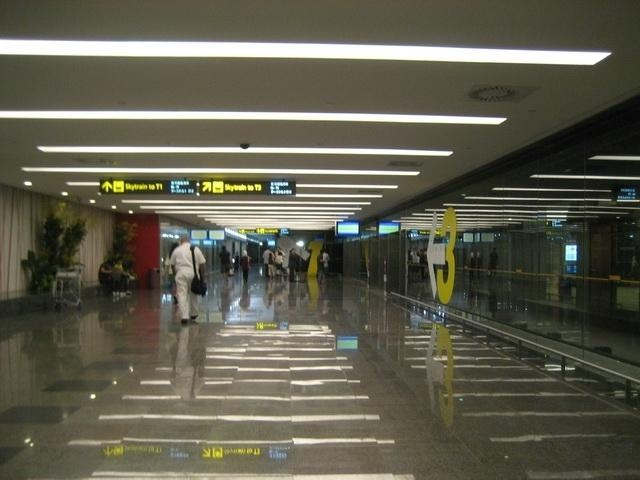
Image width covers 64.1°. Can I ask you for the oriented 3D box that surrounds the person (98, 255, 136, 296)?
[{"bbox_3d":[-6.989,1.356,17.567,1.014,1.485,0.533,4,12,-13],"label":"person"}]

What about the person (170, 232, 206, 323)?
[{"bbox_3d":[-2.748,0.843,10.703,0.674,1.842,0.784,-1,4,-21],"label":"person"}]

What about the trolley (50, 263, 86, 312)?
[{"bbox_3d":[-6.471,1.226,13.161,0.630,1.157,0.744,-1,6,-29],"label":"trolley"}]

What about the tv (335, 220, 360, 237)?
[{"bbox_3d":[1.370,-0.552,25.502,1.148,0.674,0.833,0,-3,1],"label":"tv"}]

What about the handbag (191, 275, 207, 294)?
[{"bbox_3d":[-2.490,0.920,10.500,0.346,0.395,0.184,6,-12,-39],"label":"handbag"}]

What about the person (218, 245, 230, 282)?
[{"bbox_3d":[-4.544,1.146,24.644,0.377,1.655,2.527,0,3,-11],"label":"person"}]
